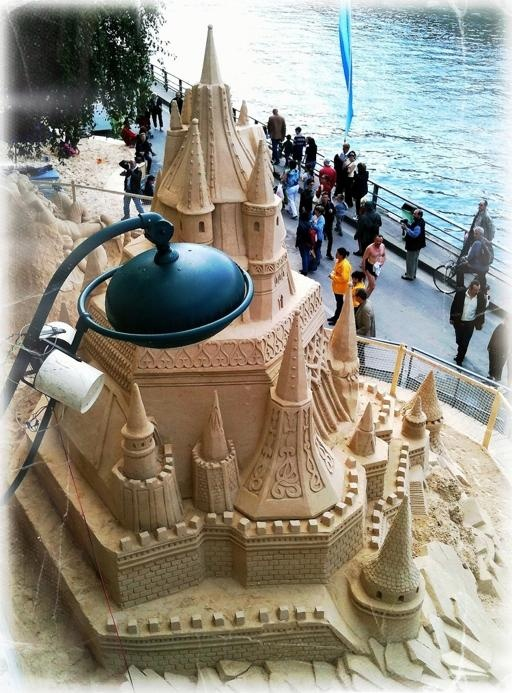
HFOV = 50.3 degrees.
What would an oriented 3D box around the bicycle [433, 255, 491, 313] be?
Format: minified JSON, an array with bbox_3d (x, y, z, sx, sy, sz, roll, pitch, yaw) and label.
[{"bbox_3d":[5.187,-1.377,13.175,1.462,0.905,0.708,30,55,-1],"label":"bicycle"}]

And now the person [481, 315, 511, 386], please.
[{"bbox_3d":[4.711,0.109,10.258,0.407,1.451,0.513,8,25,17],"label":"person"}]

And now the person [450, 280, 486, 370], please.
[{"bbox_3d":[4.254,-0.428,10.740,0.629,1.892,0.587,9,25,19],"label":"person"}]

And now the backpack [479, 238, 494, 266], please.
[{"bbox_3d":[4.608,-1.849,10.636,0.241,0.343,0.449,-4,34,6],"label":"backpack"}]

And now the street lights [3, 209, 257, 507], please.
[{"bbox_3d":[-0.567,-0.053,2.133,1.142,0.956,0.574,15,28,30],"label":"street lights"}]

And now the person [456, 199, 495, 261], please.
[{"bbox_3d":[4.529,-2.298,10.723,0.541,1.301,1.246,6,24,13],"label":"person"}]
